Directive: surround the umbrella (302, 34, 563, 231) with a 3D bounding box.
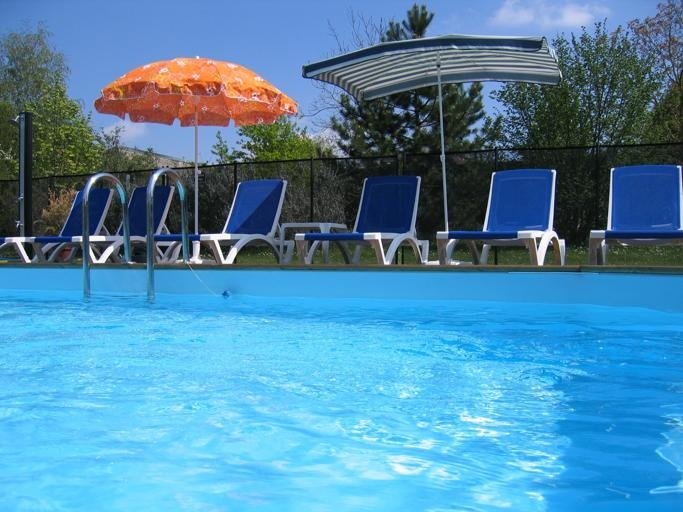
[{"bbox_3d":[1.123,-1.275,8.835,2.571,2.274,3.002,-11,15,-42],"label":"umbrella"}]

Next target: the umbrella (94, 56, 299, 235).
[{"bbox_3d":[-1.812,-1.358,9.746,2.085,2.245,2.013,9,15,41],"label":"umbrella"}]
